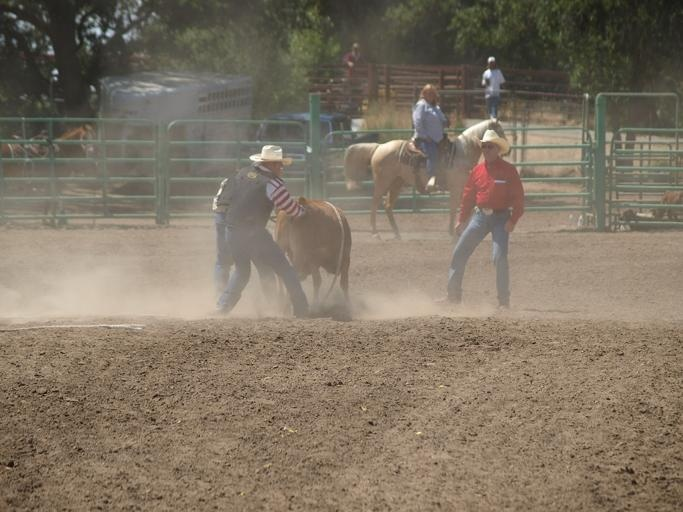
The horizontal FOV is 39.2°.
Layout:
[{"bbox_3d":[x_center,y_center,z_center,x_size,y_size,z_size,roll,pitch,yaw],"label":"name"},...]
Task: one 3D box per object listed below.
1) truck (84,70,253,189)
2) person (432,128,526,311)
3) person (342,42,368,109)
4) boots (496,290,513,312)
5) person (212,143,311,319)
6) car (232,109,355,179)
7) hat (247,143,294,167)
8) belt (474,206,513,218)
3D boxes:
[{"bbox_3d":[-3.186,-2.668,20.480,3.693,2.405,2.184,-7,14,-30],"label":"truck"},{"bbox_3d":[1.784,-0.469,11.957,0.893,2.166,0.511,2,7,9],"label":"person"},{"bbox_3d":[0.351,-5.024,27.319,0.634,1.987,1.003,1,7,0],"label":"person"},{"bbox_3d":[1.999,0.548,11.852,0.132,0.264,0.234,-5,5,-1],"label":"boots"},{"bbox_3d":[-0.958,-0.287,11.338,1.015,2.002,0.359,2,7,12],"label":"person"},{"bbox_3d":[-0.600,-2.151,19.352,2.051,1.216,1.281,-7,15,-15],"label":"car"},{"bbox_3d":[-0.879,-1.188,11.295,0.432,0.194,0.411,3,2,8],"label":"hat"},{"bbox_3d":[1.870,-0.548,11.886,0.456,0.103,0.239,3,8,15],"label":"belt"}]
